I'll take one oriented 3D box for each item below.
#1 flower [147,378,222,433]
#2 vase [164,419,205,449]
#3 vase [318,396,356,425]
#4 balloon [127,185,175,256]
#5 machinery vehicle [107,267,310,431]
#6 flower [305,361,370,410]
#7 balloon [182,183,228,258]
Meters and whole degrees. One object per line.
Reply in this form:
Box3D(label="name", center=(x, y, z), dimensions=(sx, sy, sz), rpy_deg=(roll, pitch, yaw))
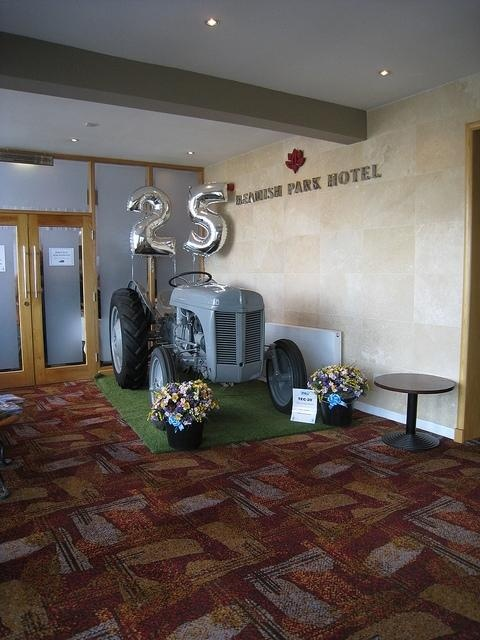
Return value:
Box3D(label="flower", center=(-0.429, 0.590, 3.295), dimensions=(0.417, 0.287, 0.429), rpy_deg=(-3, -3, 42))
Box3D(label="vase", center=(-0.394, 0.799, 3.326), dimensions=(0.220, 0.164, 0.216), rpy_deg=(2, 2, 35))
Box3D(label="vase", center=(0.817, 0.767, 3.849), dimensions=(0.251, 0.181, 0.217), rpy_deg=(1, 0, -35))
Box3D(label="balloon", center=(-1.035, -1.140, 5.326), dimensions=(0.530, 0.736, 0.358), rpy_deg=(0, 3, -12))
Box3D(label="machinery vehicle", center=(-0.425, 0.170, 4.854), dimensions=(1.551, 1.272, 2.472), rpy_deg=(-2, 6, -29))
Box3D(label="flower", center=(0.852, 0.582, 3.916), dimensions=(0.459, 0.398, 0.449), rpy_deg=(-1, 10, 2))
Box3D(label="balloon", center=(-0.426, -1.233, 5.658), dimensions=(0.557, 0.829, 0.395), rpy_deg=(1, 3, 15))
